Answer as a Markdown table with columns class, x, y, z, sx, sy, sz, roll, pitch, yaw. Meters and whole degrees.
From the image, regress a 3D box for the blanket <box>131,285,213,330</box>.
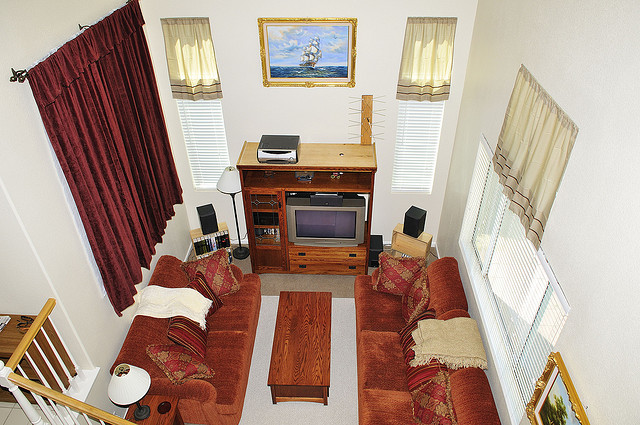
| class | x | y | z | sx | sy | sz | roll | pitch | yaw |
| --- | --- | --- | --- | --- | --- | --- | --- | --- | --- |
| blanket | -2.061 | 1.336 | 5.695 | 0.922 | 0.270 | 0.551 | 10 | 54 | -14 |

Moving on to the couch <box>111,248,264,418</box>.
| class | x | y | z | sx | sy | sz | roll | pitch | yaw |
| --- | --- | --- | --- | --- | --- | --- | --- | --- | --- |
| couch | -1.681 | 1.625 | 5.554 | 1.833 | 1.244 | 2.835 | 8 | 49 | -11 |

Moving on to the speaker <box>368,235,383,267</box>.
| class | x | y | z | sx | sy | sz | roll | pitch | yaw |
| --- | --- | --- | --- | --- | --- | --- | --- | --- | --- |
| speaker | 0.989 | 0.694 | 7.131 | 0.241 | 0.430 | 0.443 | 2 | 44 | 5 |

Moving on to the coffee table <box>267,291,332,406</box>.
| class | x | y | z | sx | sy | sz | roll | pitch | yaw |
| --- | --- | --- | --- | --- | --- | --- | --- | --- | --- |
| coffee table | -0.243 | 1.987 | 5.993 | 0.881 | 0.640 | 1.560 | 1 | 40 | 5 |

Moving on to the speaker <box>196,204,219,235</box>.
| class | x | y | z | sx | sy | sz | roll | pitch | yaw |
| --- | --- | --- | --- | --- | --- | --- | --- | --- | --- |
| speaker | -2.008 | 0.132 | 7.135 | 0.283 | 0.448 | 0.310 | -11 | 30 | -17 |

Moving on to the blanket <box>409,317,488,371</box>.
| class | x | y | z | sx | sy | sz | roll | pitch | yaw |
| --- | --- | --- | --- | --- | --- | --- | --- | --- | --- |
| blanket | 1.637 | 1.625 | 5.040 | 0.710 | 0.238 | 0.623 | -7 | 45 | 14 |

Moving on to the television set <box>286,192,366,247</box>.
| class | x | y | z | sx | sy | sz | roll | pitch | yaw |
| --- | --- | --- | --- | --- | --- | --- | --- | --- | --- |
| television set | 0.137 | 0.249 | 7.296 | 1.501 | 1.007 | 0.855 | 0 | 50 | 2 |
